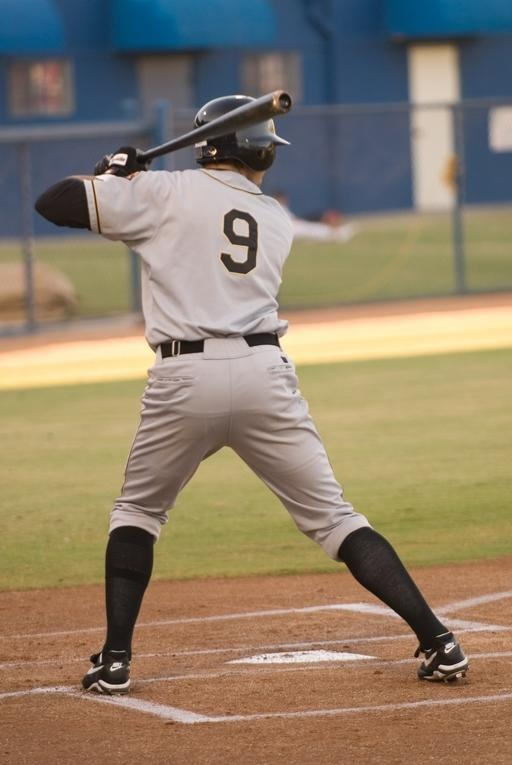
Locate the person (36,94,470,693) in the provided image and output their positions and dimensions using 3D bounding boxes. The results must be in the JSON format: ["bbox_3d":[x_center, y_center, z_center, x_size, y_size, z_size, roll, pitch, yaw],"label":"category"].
[{"bbox_3d":[-0.048,0.119,2.863,0.964,1.322,0.407,-1,8,-10],"label":"person"}]

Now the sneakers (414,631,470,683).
[{"bbox_3d":[0.466,0.693,2.864,0.132,0.150,0.094,2,7,11],"label":"sneakers"}]

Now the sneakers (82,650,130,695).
[{"bbox_3d":[-0.360,0.724,2.810,0.076,0.068,0.158,1,-6,-10],"label":"sneakers"}]

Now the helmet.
[{"bbox_3d":[-0.059,-0.677,3.067,0.222,0.195,0.285,9,17,29],"label":"helmet"}]

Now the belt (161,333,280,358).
[{"bbox_3d":[-0.073,-0.094,2.857,0.321,0.062,0.123,-2,6,-23],"label":"belt"}]
